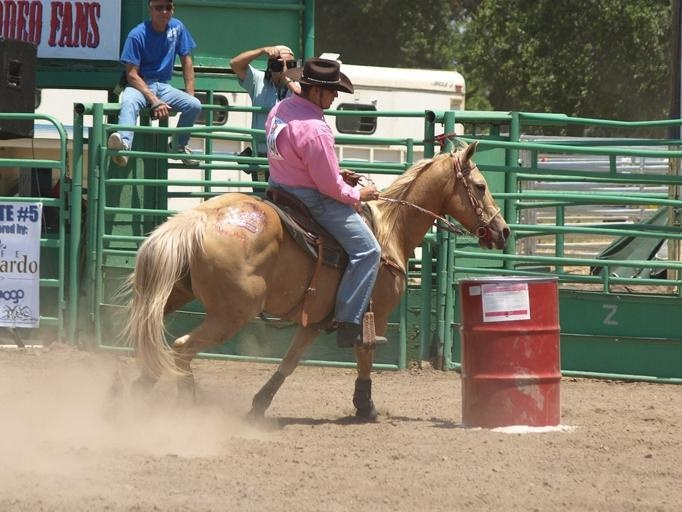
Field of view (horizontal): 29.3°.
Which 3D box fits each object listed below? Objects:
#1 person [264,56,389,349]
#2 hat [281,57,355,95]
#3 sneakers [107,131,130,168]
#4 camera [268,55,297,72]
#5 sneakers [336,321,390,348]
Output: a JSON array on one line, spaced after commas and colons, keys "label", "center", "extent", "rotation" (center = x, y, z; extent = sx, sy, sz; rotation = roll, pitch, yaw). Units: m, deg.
[{"label": "person", "center": [-0.189, -0.530, 13.186], "extent": [1.197, 2.927, 0.427], "rotation": [2, 2, -2]}, {"label": "hat", "center": [-0.146, -1.847, 13.153], "extent": [0.444, 0.179, 0.367], "rotation": [2, 32, -13]}, {"label": "sneakers", "center": [-2.604, -1.259, 15.255], "extent": [0.170, 0.443, 0.188], "rotation": [-7, 37, 10]}, {"label": "camera", "center": [-0.730, -2.277, 15.440], "extent": [0.405, 0.157, 0.406], "rotation": [1, 1, -30]}, {"label": "sneakers", "center": [0.187, 0.822, 13.346], "extent": [0.580, 0.269, 0.180], "rotation": [-1, 0, -9]}]
